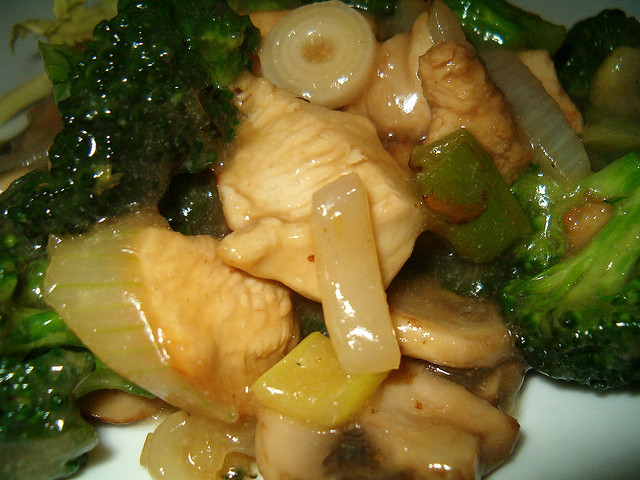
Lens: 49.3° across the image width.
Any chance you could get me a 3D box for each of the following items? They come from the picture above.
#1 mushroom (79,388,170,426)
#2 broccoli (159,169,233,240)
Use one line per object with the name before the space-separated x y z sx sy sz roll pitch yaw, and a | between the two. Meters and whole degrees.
mushroom | -0.684 0.569 2.395 0.209 0.057 0.175 8 -3 0
broccoli | -0.423 -0.112 2.381 0.213 0.250 0.070 -2 6 -11
